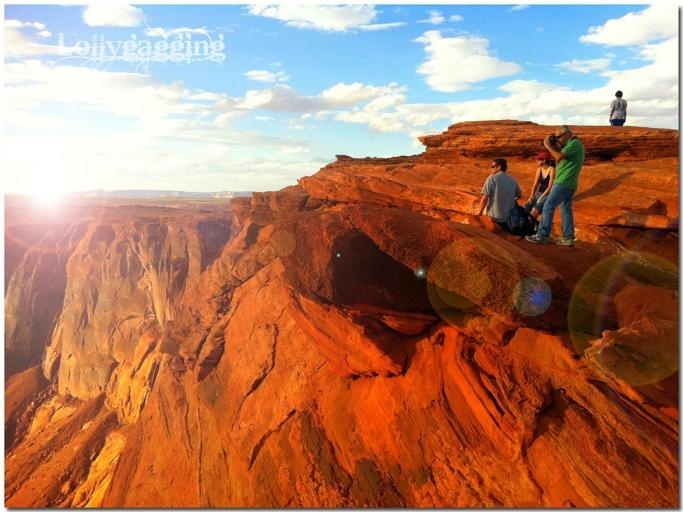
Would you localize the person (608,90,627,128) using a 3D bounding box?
[{"bbox_3d":[9.829,-5.147,14.116,0.446,1.213,1.026,8,14,31],"label":"person"}]

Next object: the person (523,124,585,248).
[{"bbox_3d":[4.459,-1.458,8.185,0.861,2.395,1.037,8,15,30],"label":"person"}]
